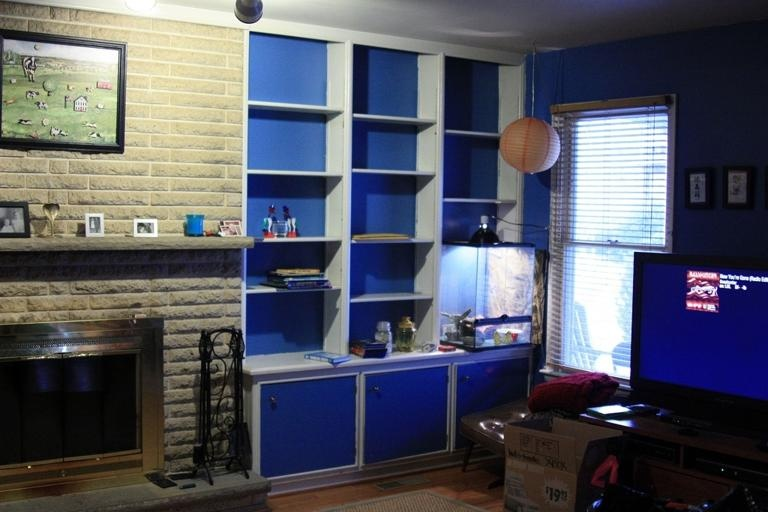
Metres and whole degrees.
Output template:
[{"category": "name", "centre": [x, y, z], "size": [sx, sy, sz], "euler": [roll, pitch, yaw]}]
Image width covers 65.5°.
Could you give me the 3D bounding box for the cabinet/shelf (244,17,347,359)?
[{"category": "cabinet/shelf", "centre": [-0.696, -0.465, 4.768], "size": [0.827, 2.542, 0.290], "euler": [-1, 4, -15]}]

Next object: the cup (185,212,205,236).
[{"category": "cup", "centre": [-1.377, -0.219, 4.345], "size": [0.140, 0.156, 0.154], "euler": [0, 4, 0]}]

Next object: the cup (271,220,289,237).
[{"category": "cup", "centre": [-0.833, -0.210, 4.741], "size": [0.154, 0.123, 0.077], "euler": [0, 5, -20]}]

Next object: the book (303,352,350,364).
[{"category": "book", "centre": [-0.451, 0.810, 4.749], "size": [0.368, 0.061, 0.199], "euler": [2, 4, 24]}]

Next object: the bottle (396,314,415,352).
[{"category": "bottle", "centre": [0.178, 0.656, 5.005], "size": [0.143, 0.279, 0.097], "euler": [-1, 4, -10]}]

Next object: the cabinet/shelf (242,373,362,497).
[{"category": "cabinet/shelf", "centre": [-0.664, 1.360, 4.536], "size": [1.124, 0.885, 0.413], "euler": [-1, -1, -26]}]

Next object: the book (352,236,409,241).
[{"category": "book", "centre": [-0.020, -0.147, 4.901], "size": [0.480, 0.032, 0.117], "euler": [-2, 4, -29]}]

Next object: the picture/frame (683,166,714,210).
[{"category": "picture/frame", "centre": [2.355, -0.506, 4.462], "size": [0.179, 0.301, 0.052], "euler": [1, 4, 21]}]

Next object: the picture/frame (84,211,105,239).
[{"category": "picture/frame", "centre": [-2.009, -0.214, 4.145], "size": [0.117, 0.161, 0.078], "euler": [-2, 4, -24]}]

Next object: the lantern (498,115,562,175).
[{"category": "lantern", "centre": [1.115, -0.855, 4.733], "size": [0.514, 0.460, 0.439], "euler": [2, 5, 13]}]

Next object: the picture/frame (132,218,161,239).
[{"category": "picture/frame", "centre": [-1.700, -0.194, 4.240], "size": [0.178, 0.130, 0.012], "euler": [1, -2, -28]}]

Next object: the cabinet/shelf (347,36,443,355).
[{"category": "cabinet/shelf", "centre": [0.098, -0.482, 5.082], "size": [0.760, 2.531, 0.308], "euler": [-1, 4, -17]}]

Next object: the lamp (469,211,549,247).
[{"category": "lamp", "centre": [1.001, -0.232, 5.303], "size": [0.715, 0.247, 0.475], "euler": [-2, 4, -22]}]
